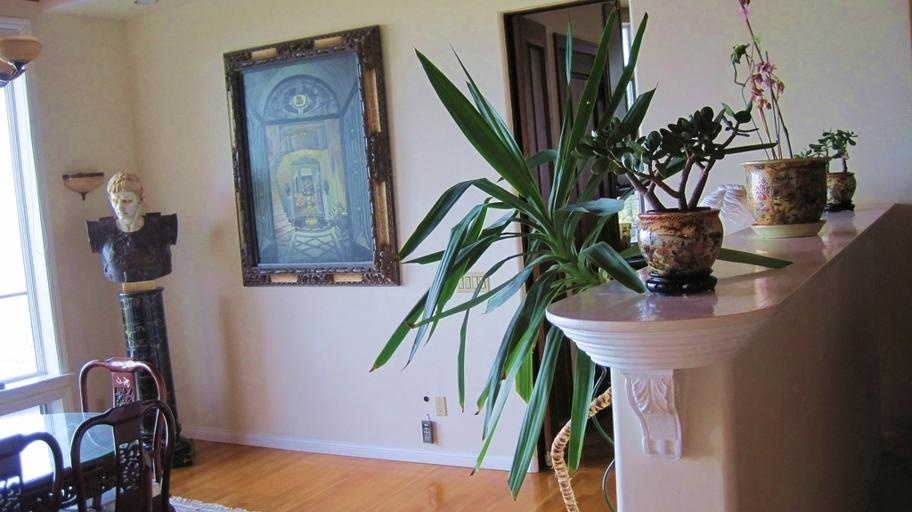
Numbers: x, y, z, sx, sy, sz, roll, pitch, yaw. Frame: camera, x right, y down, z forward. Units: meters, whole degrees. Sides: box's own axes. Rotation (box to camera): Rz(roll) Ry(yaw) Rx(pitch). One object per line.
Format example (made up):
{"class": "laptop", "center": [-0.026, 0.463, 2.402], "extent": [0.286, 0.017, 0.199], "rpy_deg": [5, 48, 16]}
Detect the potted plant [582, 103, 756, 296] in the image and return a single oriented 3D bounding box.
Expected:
{"class": "potted plant", "center": [0.845, -0.207, 2.405], "extent": [0.403, 0.615, 0.625], "rpy_deg": [-12, 11, -43]}

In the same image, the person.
{"class": "person", "center": [-2.570, -0.222, 5.067], "extent": [0.630, 0.861, 0.278], "rpy_deg": [-3, 9, 9]}

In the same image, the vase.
{"class": "vase", "center": [1.483, -0.267, 3.013], "extent": [0.376, 0.313, 0.372], "rpy_deg": [-1, -2, 6]}
